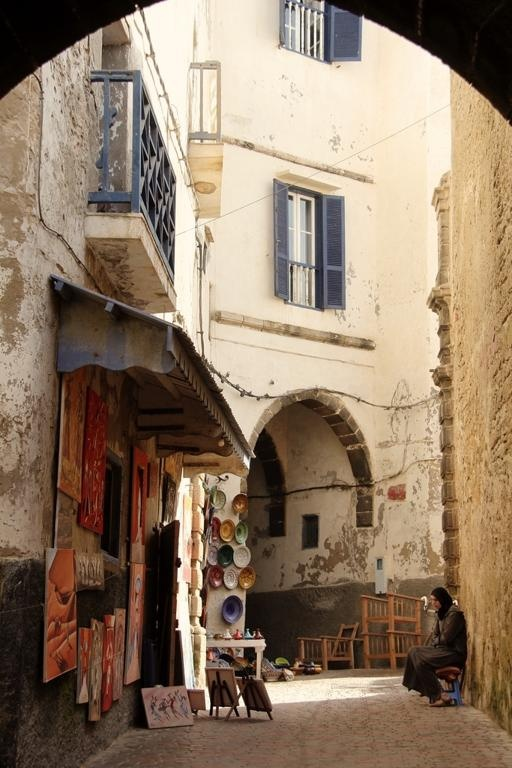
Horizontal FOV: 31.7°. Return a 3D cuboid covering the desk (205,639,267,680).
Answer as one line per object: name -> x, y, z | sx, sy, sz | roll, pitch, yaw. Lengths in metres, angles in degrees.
desk -> -0.289, 3.572, 11.900 | 0.743, 0.481, 2.189 | 0, -14, -2

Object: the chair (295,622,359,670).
chair -> 1.293, 4.646, 16.057 | 1.136, 0.794, 1.216 | -5, -14, 19

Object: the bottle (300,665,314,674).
bottle -> 0.858, 4.683, 14.825 | 0.115, 0.119, 0.148 | 1, -7, -2

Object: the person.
person -> 1.894, 2.698, 9.361 | 0.616, 1.171, 0.792 | -9, -14, 41

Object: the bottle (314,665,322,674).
bottle -> 1.051, 4.811, 15.256 | 0.127, 0.140, 0.154 | 4, -7, -15
